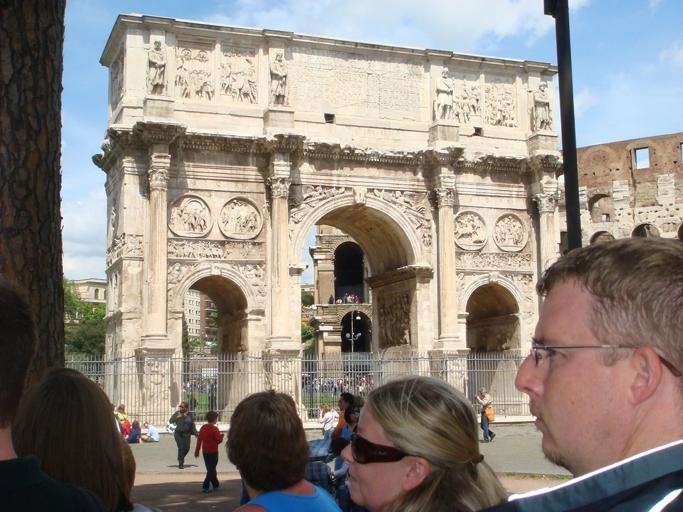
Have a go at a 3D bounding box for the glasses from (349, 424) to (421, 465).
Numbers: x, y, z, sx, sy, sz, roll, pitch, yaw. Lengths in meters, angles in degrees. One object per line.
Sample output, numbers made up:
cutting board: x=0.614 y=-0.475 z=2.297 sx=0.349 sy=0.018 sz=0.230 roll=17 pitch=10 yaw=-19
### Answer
glasses: x=0.175 y=0.820 z=4.179 sx=0.280 sy=0.144 sz=0.080 roll=-5 pitch=-10 yaw=31
